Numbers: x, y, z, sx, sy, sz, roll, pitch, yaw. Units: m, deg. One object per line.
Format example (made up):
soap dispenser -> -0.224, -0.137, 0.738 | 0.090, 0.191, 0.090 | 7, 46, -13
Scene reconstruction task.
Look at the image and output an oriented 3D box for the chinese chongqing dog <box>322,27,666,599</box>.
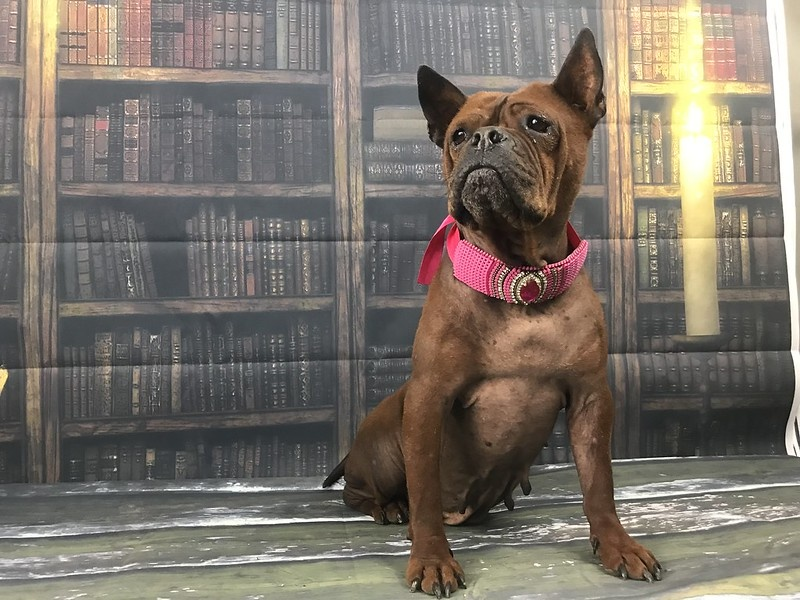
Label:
chinese chongqing dog -> 0.353, 0.031, 5.336 | 1.090, 1.880, 0.636 | -4, 1, 2
